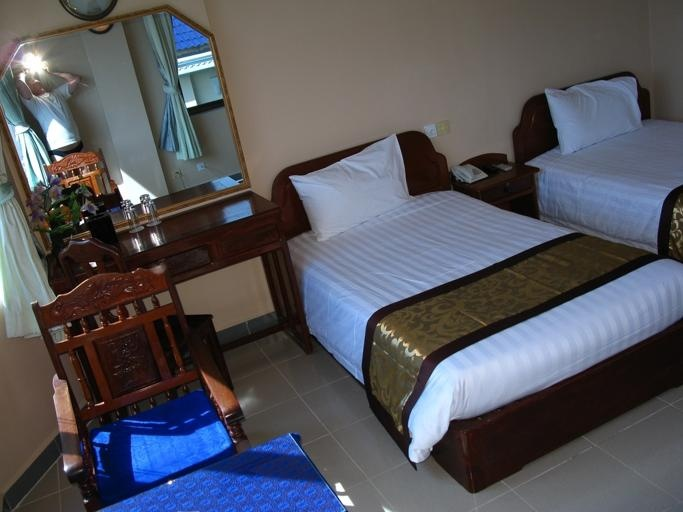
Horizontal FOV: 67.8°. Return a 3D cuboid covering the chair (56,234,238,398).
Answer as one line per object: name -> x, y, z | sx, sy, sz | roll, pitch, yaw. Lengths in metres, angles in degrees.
chair -> -1.110, 0.332, 2.807 | 0.531, 1.084, 0.576 | -24, 39, -33

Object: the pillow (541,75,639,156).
pillow -> 2.313, -1.268, 4.629 | 0.981, 0.609, 0.297 | -11, -10, -14

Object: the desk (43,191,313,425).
desk -> -1.030, 0.333, 3.496 | 1.386, 1.092, 0.584 | -21, 21, -20

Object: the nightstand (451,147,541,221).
nightstand -> 1.349, -0.451, 4.407 | 0.549, 0.591, 0.423 | -17, 18, -12

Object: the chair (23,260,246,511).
chair -> -1.106, 0.658, 2.554 | 0.725, 1.079, 0.709 | -23, 35, -21
